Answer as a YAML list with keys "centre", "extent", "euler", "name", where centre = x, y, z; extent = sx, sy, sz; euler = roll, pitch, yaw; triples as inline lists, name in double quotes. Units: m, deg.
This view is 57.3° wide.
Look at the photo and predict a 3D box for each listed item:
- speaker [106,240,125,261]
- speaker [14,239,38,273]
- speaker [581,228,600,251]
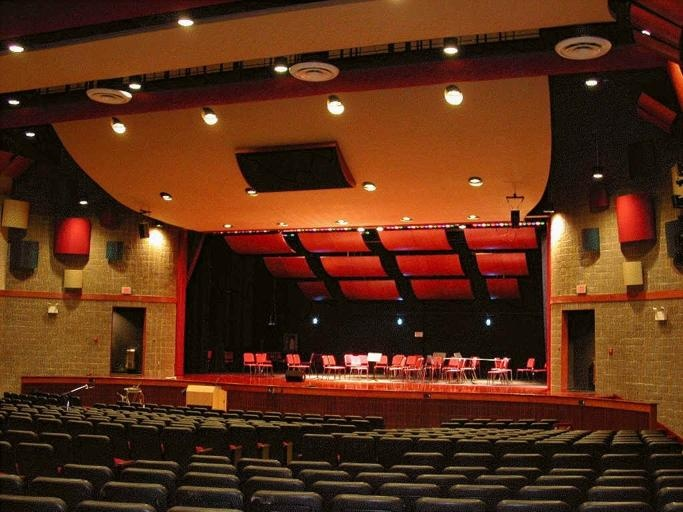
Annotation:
- centre: [-7.354, -0.140, 20.477]
  extent: [0.617, 0.613, 0.606]
  euler: [2, -8, -12]
  name: "speaker"
- centre: [-9.603, 0.005, 18.993]
  extent: [0.712, 0.889, 0.455]
  euler: [6, -17, -27]
  name: "speaker"
- centre: [6.510, -0.439, 16.350]
  extent: [0.498, 0.579, 0.503]
  euler: [-1, -1, 6]
  name: "speaker"
